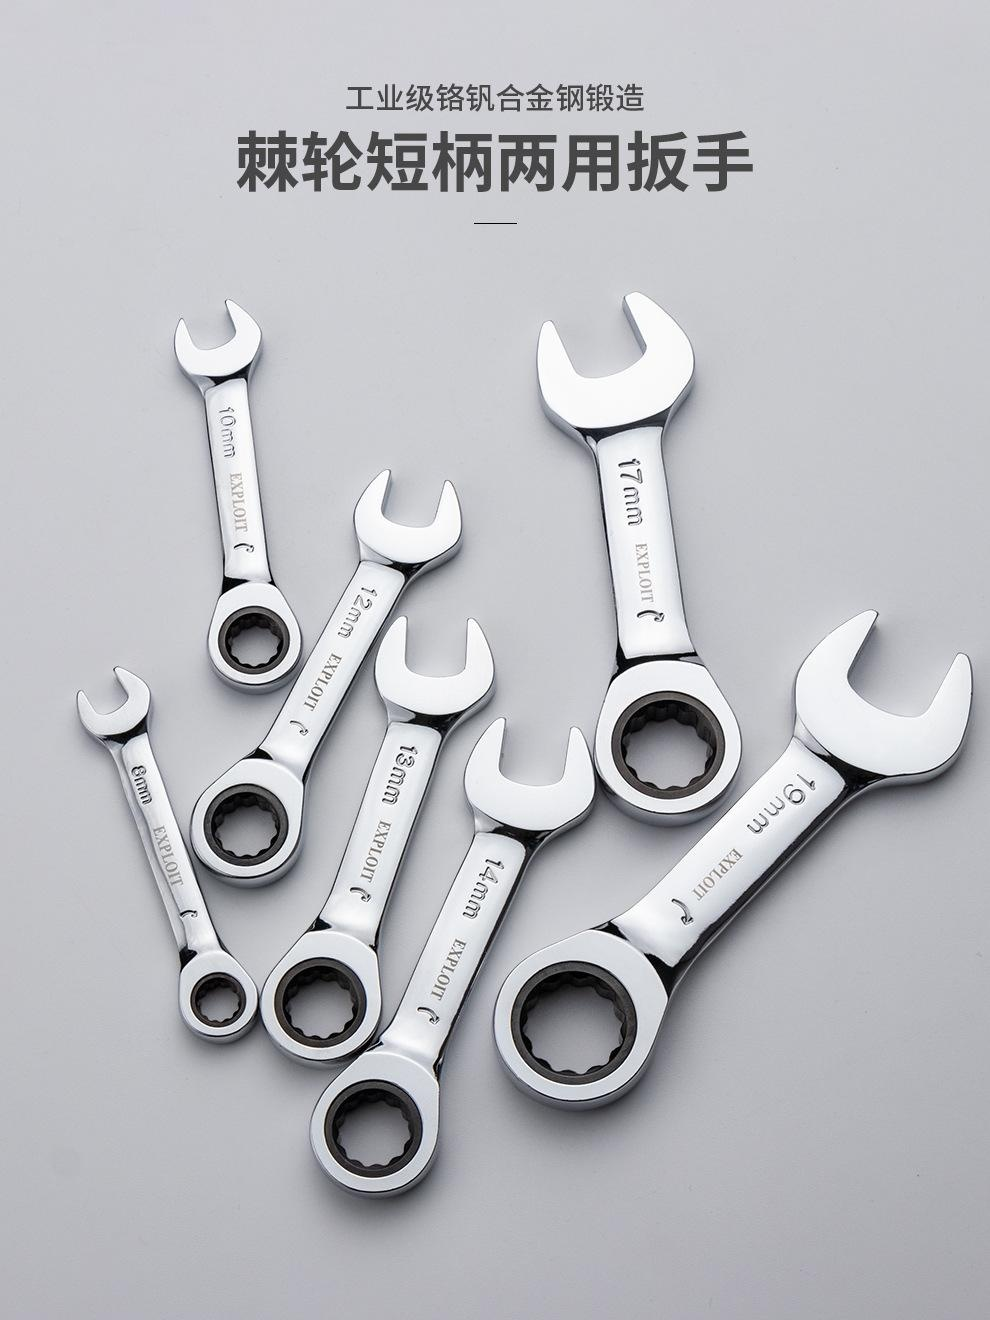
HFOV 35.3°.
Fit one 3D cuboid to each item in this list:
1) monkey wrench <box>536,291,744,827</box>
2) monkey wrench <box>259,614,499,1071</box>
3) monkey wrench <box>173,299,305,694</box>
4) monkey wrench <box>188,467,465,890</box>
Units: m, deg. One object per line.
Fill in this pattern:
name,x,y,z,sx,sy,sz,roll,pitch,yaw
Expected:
monkey wrench,0.155,-0.110,1.634,0.157,0.046,0.599,-8,63,5
monkey wrench,-0.120,0.176,1.565,0.136,0.039,0.531,12,71,11
monkey wrench,-0.283,-0.174,1.706,0.105,0.050,0.463,-9,75,-1
monkey wrench,-0.154,0.022,1.709,0.153,0.045,0.580,24,76,13
